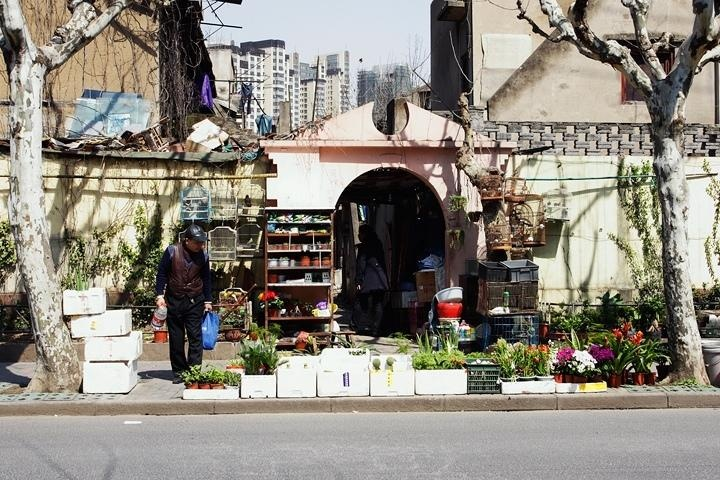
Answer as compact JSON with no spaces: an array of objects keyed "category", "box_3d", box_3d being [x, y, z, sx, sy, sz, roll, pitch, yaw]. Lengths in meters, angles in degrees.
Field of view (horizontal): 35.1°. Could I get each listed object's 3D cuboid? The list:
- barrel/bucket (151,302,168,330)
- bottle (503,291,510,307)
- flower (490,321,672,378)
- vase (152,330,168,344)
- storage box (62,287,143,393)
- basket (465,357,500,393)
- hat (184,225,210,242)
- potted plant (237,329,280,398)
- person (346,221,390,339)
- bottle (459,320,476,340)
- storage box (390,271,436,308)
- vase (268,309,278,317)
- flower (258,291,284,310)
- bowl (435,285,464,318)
[{"category":"barrel/bucket","box_3d":[-4.203,1.630,24.058,0.377,0.396,0.646,8,-39,-23]},{"category":"bottle","box_3d":[3.245,1.319,25.327,0.148,0.345,0.132,0,-4,2]},{"category":"flower","box_3d":[4.464,2.352,23.401,3.372,0.938,0.876,0,-4,3]},{"category":"vase","box_3d":[-4.506,2.198,25.908,0.308,0.244,0.320,1,-3,5]},{"category":"storage box","box_3d":[-5.459,2.095,23.101,1.831,2.490,1.779,1,-4,-2]},{"category":"basket","box_3d":[2.461,2.780,23.169,0.763,0.791,0.580,0,-9,-2]},{"category":"hat","box_3d":[-3.384,-0.139,23.355,0.335,0.244,0.478,-1,9,-39]},{"category":"potted plant","box_3d":[-2.039,2.572,23.214,0.922,1.317,0.974,-1,-7,-30]},{"category":"person","box_3d":[0.250,1.000,28.736,0.877,2.822,0.827,0,-4,-1]},{"category":"bottle","box_3d":[2.434,2.086,26.041,0.388,0.629,0.418,-2,1,0]},{"category":"storage box","box_3d":[1.360,1.244,28.480,0.416,0.908,1.804,2,-5,-22]},{"category":"vase","box_3d":[-2.006,1.705,26.671,0.155,0.158,0.159,2,-5,-18]},{"category":"flower","box_3d":[-2.090,1.421,26.836,0.434,0.326,0.459,1,3,-19]},{"category":"bowl","box_3d":[2.011,1.456,26.400,0.635,0.503,0.673,1,-36,1]}]
